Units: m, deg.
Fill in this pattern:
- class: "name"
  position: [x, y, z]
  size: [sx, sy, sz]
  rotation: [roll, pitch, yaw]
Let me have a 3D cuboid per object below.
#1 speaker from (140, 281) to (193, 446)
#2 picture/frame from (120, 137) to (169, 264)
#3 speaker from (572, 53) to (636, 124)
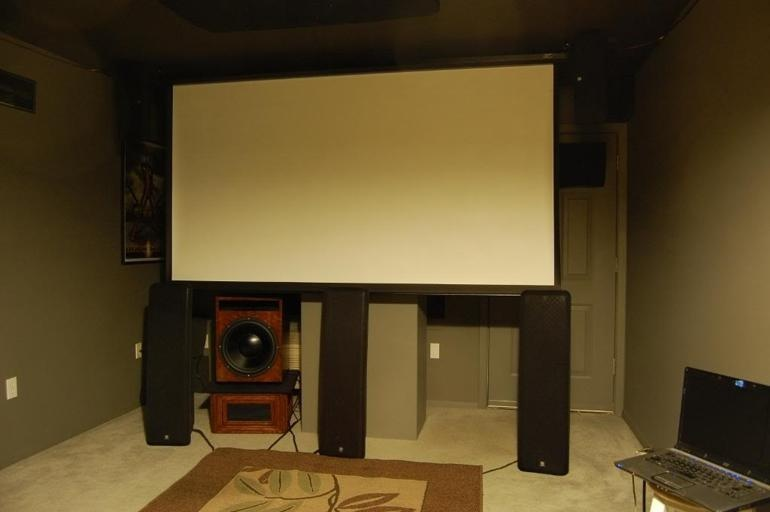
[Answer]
- class: "speaker"
  position: [-1.679, 0.841, 4.752]
  size: [0.346, 1.268, 0.144]
  rotation: [0, -2, -12]
- class: "picture/frame"
  position: [-2.108, -0.468, 5.375]
  size: [0.085, 1.078, 0.478]
  rotation: [-1, -3, 27]
- class: "speaker"
  position: [1.744, -1.321, 4.943]
  size: [0.581, 0.542, 0.354]
  rotation: [11, 11, 41]
